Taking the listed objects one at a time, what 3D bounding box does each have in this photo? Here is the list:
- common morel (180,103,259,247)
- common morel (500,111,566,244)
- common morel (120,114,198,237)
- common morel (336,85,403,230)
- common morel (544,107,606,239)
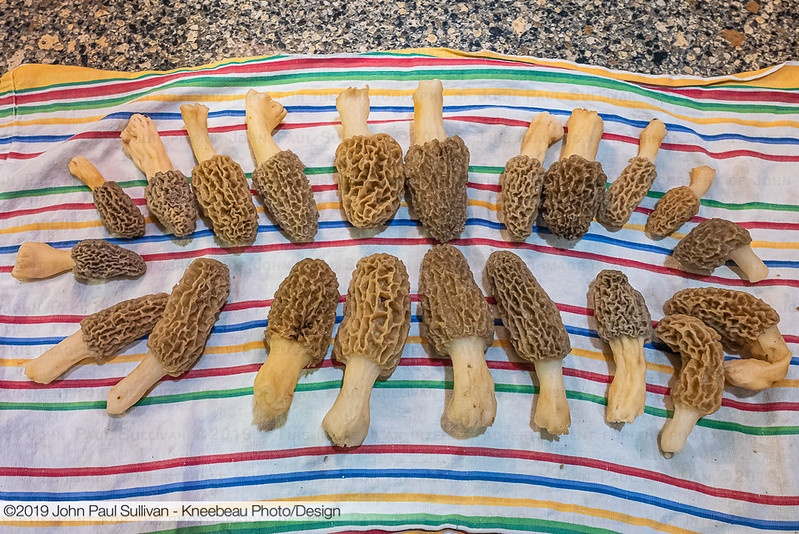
[{"bbox_3d":[-0.812,-0.463,3.291,0.276,0.328,0.731,-15,81,-19],"label":"common morel"},{"bbox_3d":[0.561,-0.391,3.284,0.237,0.263,0.648,12,86,-3],"label":"common morel"},{"bbox_3d":[-1.082,-0.399,3.325,0.234,0.249,0.682,1,56,-53],"label":"common morel"},{"bbox_3d":[-0.197,-0.495,3.264,0.303,0.311,0.622,-6,79,-9],"label":"common morel"},{"bbox_3d":[0.801,-0.450,3.261,0.268,0.290,0.601,12,86,15],"label":"common morel"}]
